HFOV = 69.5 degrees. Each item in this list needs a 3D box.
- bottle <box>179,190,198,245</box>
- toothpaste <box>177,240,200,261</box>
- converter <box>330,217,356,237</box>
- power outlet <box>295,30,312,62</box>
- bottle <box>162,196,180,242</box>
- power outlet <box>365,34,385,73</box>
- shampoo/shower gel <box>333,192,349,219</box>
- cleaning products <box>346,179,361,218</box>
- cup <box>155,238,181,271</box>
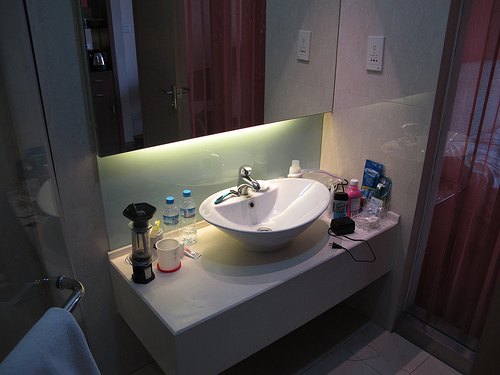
[{"bbox_3d":[-0.327,0.162,1.845,0.097,0.240,0.094,-2,21,1],"label":"bottle"},{"bbox_3d":[-0.307,0.291,1.777,0.050,0.072,0.161,-26,27,-34],"label":"toothpaste"},{"bbox_3d":[0.502,0.200,1.960,0.117,0.068,0.079,-12,34,-24],"label":"converter"},{"bbox_3d":[0.297,-0.788,2.033,0.070,0.155,0.015,4,0,-13],"label":"power outlet"},{"bbox_3d":[-0.407,0.145,1.830,0.089,0.246,0.143,-8,22,-14],"label":"bottle"},{"bbox_3d":[0.673,-0.719,1.957,0.086,0.171,0.020,5,3,4],"label":"power outlet"},{"bbox_3d":[0.509,0.092,2.026,0.088,0.164,0.060,-5,29,2],"label":"shampoo/shower gel"},{"bbox_3d":[0.590,0.060,2.055,0.085,0.212,0.104,5,23,18],"label":"cleaning products"},{"bbox_3d":[-0.376,0.311,1.706,0.130,0.113,0.113,19,27,39],"label":"cup"}]
